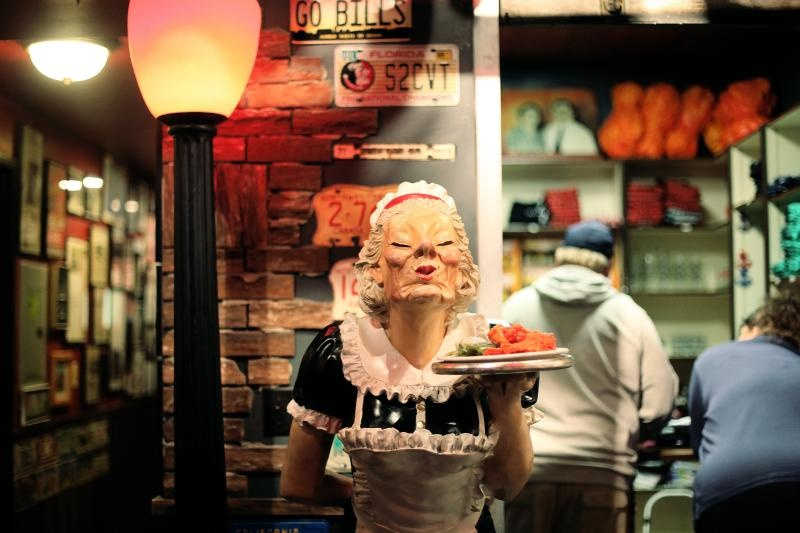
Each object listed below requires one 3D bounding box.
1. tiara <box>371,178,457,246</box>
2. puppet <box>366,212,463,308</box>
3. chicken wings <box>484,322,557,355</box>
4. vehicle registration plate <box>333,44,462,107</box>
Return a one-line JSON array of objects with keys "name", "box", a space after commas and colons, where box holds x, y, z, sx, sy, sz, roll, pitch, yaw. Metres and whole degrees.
[{"name": "tiara", "box": [0.076, -0.301, 5.683, 0.323, 0.301, 0.357, 1, 1, 16]}, {"name": "puppet", "box": [0.077, -0.065, 5.504, 0.603, 0.623, 0.262, 1, -7, -3]}, {"name": "chicken wings", "box": [0.612, 0.371, 5.389, 0.336, 0.157, 0.288, 4, -2, -8]}, {"name": "vehicle registration plate", "box": [-0.009, -1.121, 6.279, 0.734, 0.359, 0.057, 0, -7, 2]}]
